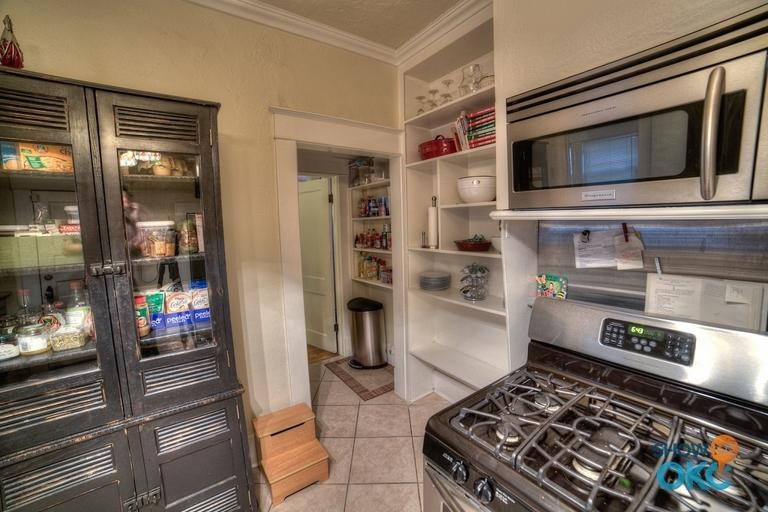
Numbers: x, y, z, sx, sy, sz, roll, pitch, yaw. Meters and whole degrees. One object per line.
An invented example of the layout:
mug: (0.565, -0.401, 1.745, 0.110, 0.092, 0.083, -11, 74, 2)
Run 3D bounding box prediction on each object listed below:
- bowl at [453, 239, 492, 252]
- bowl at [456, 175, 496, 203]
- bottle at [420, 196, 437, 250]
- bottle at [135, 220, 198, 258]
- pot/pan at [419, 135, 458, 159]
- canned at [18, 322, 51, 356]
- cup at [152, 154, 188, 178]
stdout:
bowl: (0.646, -0.073, 3.290, 0.263, 0.091, 0.215, -4, 4, -1)
bowl: (0.634, -0.450, 3.216, 0.209, 0.121, 0.206, 0, 3, 0)
bottle: (0.348, -0.265, 3.621, 0.135, 0.395, 0.373, -4, 5, 6)
bottle: (-1.199, -0.097, 2.579, 0.273, 0.172, 0.191, -3, 5, -38)
pot/pan: (0.384, -0.786, 3.450, 0.177, 0.127, 0.235, -7, 6, -27)
canned: (-1.751, 0.410, 2.355, 0.148, 0.144, 0.149, 2, 1, 39)
cup: (-1.165, -0.491, 2.544, 0.154, 0.107, 0.075, 0, 10, -14)
